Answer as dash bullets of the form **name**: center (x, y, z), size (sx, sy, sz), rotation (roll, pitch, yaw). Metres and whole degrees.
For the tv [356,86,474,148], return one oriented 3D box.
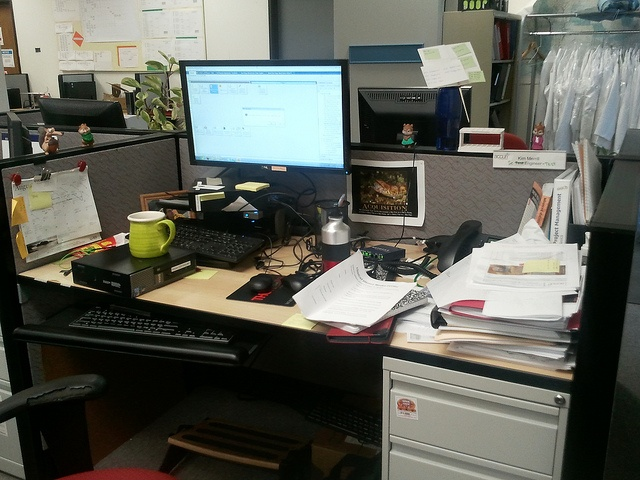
- **tv**: center (0.356, -0.464, 1.816), size (0.312, 0.249, 0.147), rotation (6, 34, 17)

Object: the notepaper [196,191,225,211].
- **notepaper**: center (-0.383, -0.135, 1.689), size (0.110, 0.057, 0.027), rotation (-7, 21, -13)

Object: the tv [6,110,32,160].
- **tv**: center (-1.193, -0.415, 1.903), size (0.083, 0.168, 0.233), rotation (-14, 23, -27)

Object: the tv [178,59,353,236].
- **tv**: center (-0.190, -0.329, 1.708), size (0.756, 0.381, 0.080), rotation (6, 22, 19)

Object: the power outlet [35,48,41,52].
- **power outlet**: center (-3.137, -2.107, 5.379), size (0.090, 0.048, 0.011), rotation (8, 24, 26)

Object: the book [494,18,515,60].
- **book**: center (1.445, -1.599, 3.827), size (0.195, 0.289, 0.325), rotation (5, 29, 23)

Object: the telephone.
- **telephone**: center (0.399, 0.028, 1.489), size (0.221, 0.083, 0.276), rotation (-10, 10, -30)

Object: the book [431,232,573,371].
- **book**: center (0.443, 0.134, 1.108), size (0.325, 0.097, 0.299), rotation (4, 41, 33)

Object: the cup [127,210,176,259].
- **cup**: center (-0.524, -0.025, 1.511), size (0.184, 0.114, 0.112), rotation (11, 21, 25)
